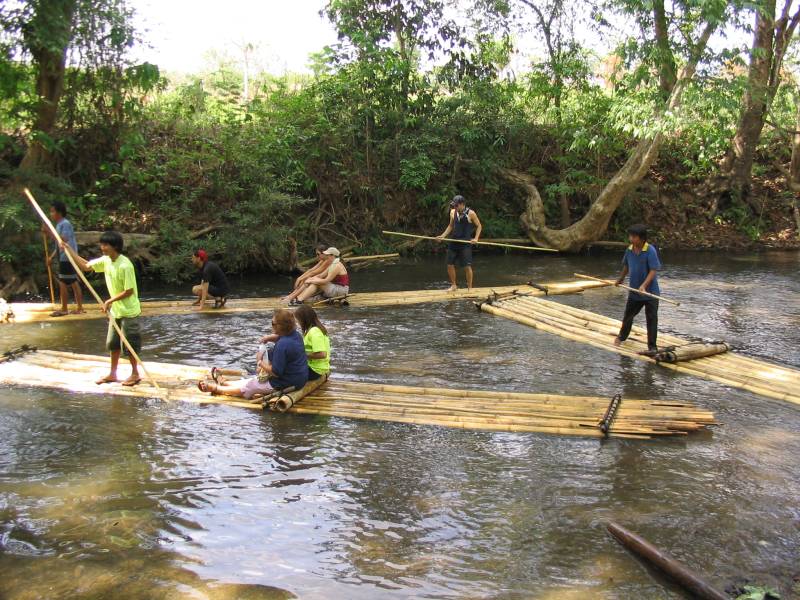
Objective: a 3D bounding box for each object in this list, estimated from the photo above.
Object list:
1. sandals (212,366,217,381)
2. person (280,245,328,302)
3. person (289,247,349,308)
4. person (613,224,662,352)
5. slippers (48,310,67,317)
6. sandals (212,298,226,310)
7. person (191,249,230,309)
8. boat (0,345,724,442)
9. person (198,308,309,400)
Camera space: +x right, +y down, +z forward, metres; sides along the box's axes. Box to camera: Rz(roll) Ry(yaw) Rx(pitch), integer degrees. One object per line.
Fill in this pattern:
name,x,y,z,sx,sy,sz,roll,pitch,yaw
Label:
sandals,-2.398,0.943,8.962,0.066,0.184,0.096,-4,-5,41
person,-1.905,-0.615,14.219,0.561,1.396,0.415,22,36,-25
person,-1.753,-0.473,13.734,1.407,0.816,0.707,-10,24,-30
person,3.667,-0.185,10.684,0.675,1.862,0.932,4,6,16
slippers,-5.942,0.236,12.020,0.279,0.076,0.115,1,1,-18
sandals,-3.441,0.057,13.148,0.171,0.239,0.220,31,31,19
person,-3.792,-0.443,13.875,0.639,1.049,2.440,1,4,-16
boat,-0.543,1.198,8.745,7.592,0.240,1.110,1,8,11
person,-1.853,0.755,8.937,1.632,0.889,0.653,-9,0,21
